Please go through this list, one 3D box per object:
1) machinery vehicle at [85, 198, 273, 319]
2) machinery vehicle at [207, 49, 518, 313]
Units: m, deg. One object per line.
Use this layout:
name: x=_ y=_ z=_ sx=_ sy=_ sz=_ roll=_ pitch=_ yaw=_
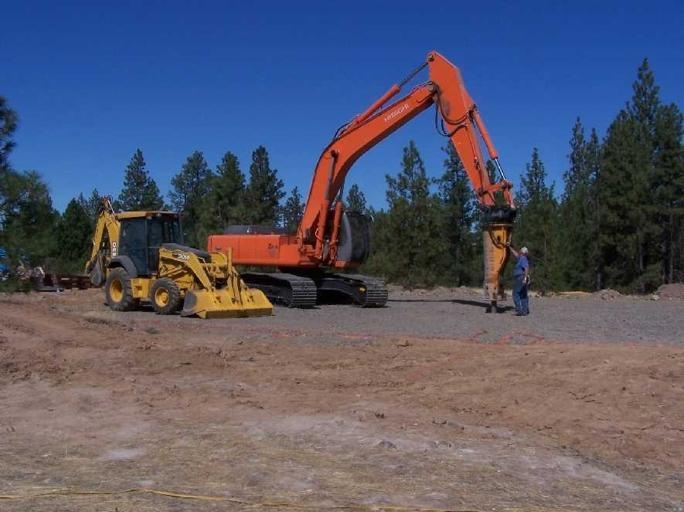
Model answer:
machinery vehicle: x=-5.835 y=-0.001 z=18.330 sx=7.352 sy=3.919 sz=2.854 roll=-2 pitch=-5 yaw=31
machinery vehicle: x=0.530 y=-2.347 z=20.702 sx=11.128 sy=8.901 sz=4.225 roll=0 pitch=2 yaw=30
